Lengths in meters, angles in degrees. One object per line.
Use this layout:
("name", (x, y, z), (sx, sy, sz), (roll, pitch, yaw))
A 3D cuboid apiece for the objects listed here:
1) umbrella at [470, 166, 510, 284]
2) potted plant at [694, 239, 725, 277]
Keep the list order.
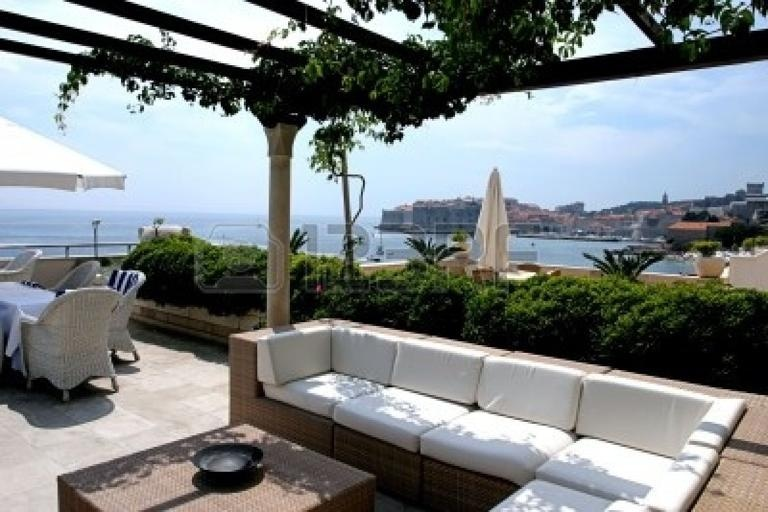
("umbrella", (1.722, -0.516, 9.767), (0.548, 1.817, 0.563), (1, 9, 12))
("potted plant", (6.749, 0.055, 12.515), (0.598, 0.741, 0.500), (1, 1, 28))
